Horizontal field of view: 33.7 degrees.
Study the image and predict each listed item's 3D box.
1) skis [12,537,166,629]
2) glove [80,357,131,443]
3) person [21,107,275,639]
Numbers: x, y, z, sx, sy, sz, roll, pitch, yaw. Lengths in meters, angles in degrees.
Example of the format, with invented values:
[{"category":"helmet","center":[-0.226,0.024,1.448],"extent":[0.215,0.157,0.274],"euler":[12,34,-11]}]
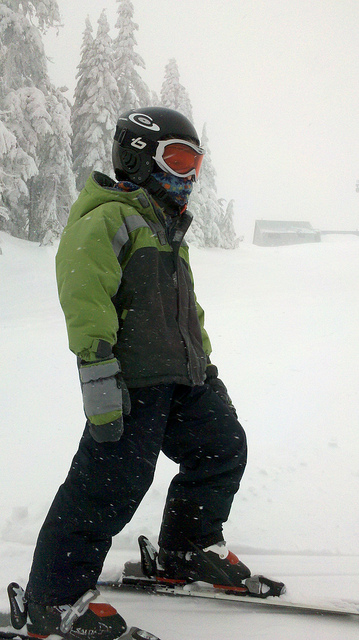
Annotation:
[{"category":"skis","center":[-0.472,1.039,2.444],"extent":[0.286,0.390,0.127],"euler":[2,-20,44]},{"category":"glove","center":[-0.272,0.298,2.149],"extent":[0.178,0.323,0.119],"euler":[0,9,-4]},{"category":"person","center":[-0.183,0.166,2.423],"extent":[1.002,2.098,0.539],"euler":[-5,11,-31]}]
